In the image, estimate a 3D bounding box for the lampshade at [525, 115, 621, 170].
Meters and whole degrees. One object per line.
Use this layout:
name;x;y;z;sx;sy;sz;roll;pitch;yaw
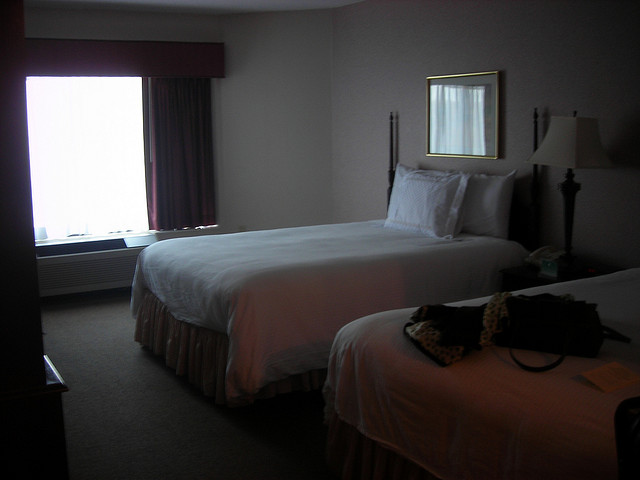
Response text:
lampshade;1.803;-0.695;3.428;0.552;0.364;0.560;10;16;33

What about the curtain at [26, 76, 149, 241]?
curtain;-2.599;-0.929;5.396;1.250;1.790;0.153;-7;13;-26

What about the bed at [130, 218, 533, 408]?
bed;0.151;0.366;3.350;1.902;0.542;1.575;-3;7;-29

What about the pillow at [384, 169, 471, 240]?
pillow;0.950;-0.309;4.152;0.188;0.631;0.641;24;-6;-36
